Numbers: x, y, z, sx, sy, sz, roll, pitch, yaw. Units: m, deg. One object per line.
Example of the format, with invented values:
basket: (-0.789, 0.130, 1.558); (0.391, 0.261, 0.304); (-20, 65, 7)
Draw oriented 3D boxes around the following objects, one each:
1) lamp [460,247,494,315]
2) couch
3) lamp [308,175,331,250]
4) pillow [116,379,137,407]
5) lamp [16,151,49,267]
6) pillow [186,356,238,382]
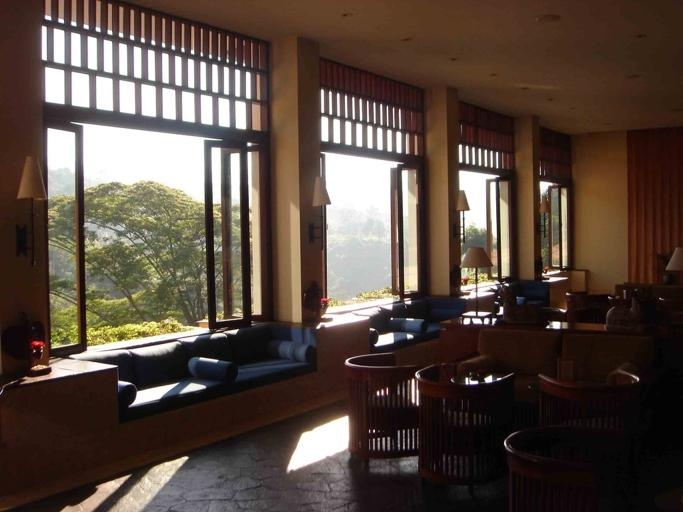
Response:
lamp: (1.673, 0.338, 7.240); (0.391, 0.886, 0.414); (1, 6, 29)
couch: (-1.404, 1.119, 6.214); (2.426, 0.656, 0.867); (-14, 19, -43)
lamp: (-0.257, -0.619, 7.432); (0.217, 0.763, 0.405); (-1, 13, -3)
pillow: (-1.957, 1.215, 5.317); (0.174, 0.193, 0.212); (-13, 14, -34)
lamp: (-2.757, -0.398, 5.256); (0.235, 0.971, 0.247); (-8, 14, -29)
pillow: (-1.325, 1.165, 5.998); (0.461, 0.215, 0.205); (7, -2, 25)
